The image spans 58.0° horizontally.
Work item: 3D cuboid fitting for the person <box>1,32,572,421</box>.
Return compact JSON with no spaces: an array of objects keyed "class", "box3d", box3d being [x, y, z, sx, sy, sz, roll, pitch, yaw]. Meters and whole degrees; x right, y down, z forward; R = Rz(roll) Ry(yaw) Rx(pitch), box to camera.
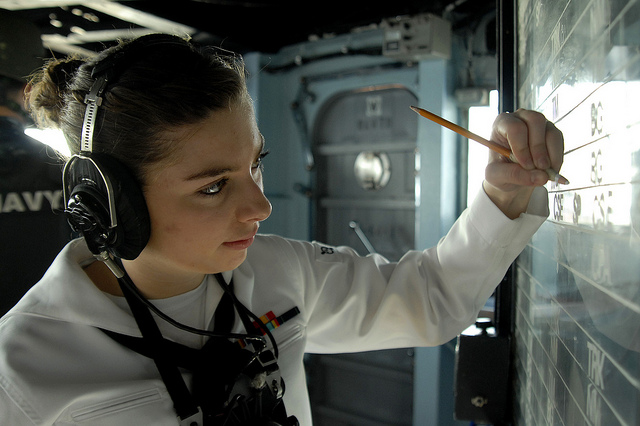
[{"class":"person","box3d":[-0.228,0.085,1.901,1.553,1.352,0.740,1,1,-11]}]
